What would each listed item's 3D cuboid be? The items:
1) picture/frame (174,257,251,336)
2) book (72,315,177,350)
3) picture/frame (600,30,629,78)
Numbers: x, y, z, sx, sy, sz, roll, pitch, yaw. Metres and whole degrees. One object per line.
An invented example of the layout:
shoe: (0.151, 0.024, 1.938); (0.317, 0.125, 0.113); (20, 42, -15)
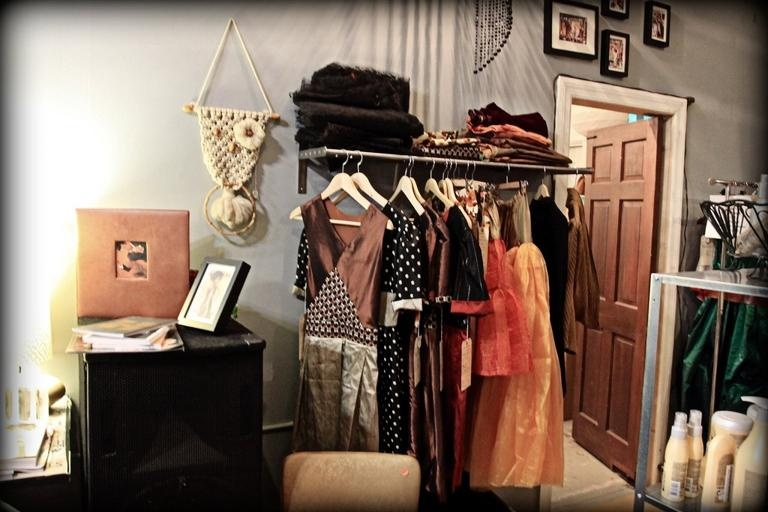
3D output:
picture/frame: (-0.684, 0.159, 2.413); (0.232, 0.337, 0.077); (4, -23, 35)
book: (-0.992, 0.300, 2.278); (0.385, 0.097, 0.303); (-1, 2, -17)
picture/frame: (1.311, -1.171, 3.358); (0.245, 0.294, 0.036); (7, -4, -34)
